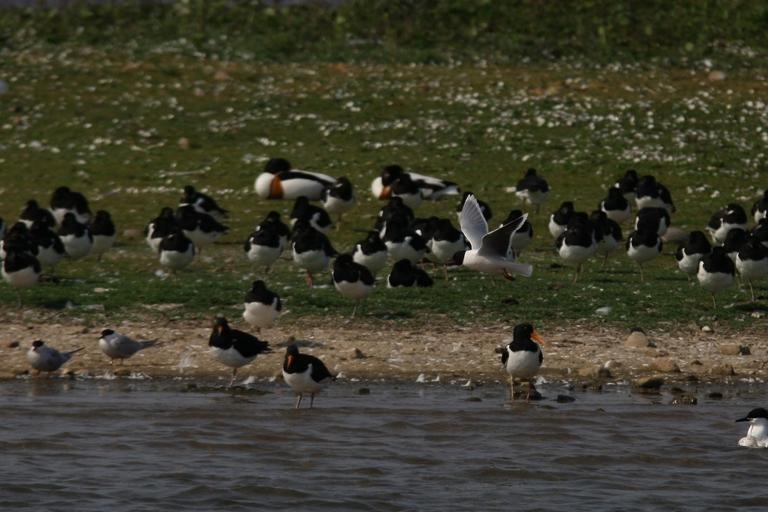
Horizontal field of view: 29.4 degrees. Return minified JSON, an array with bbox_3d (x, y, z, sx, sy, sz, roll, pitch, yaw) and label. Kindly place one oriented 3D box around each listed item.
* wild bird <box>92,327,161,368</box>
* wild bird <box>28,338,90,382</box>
[{"bbox_3d":[-6.830,2.377,38.802,1.397,0.914,0.886,-3,6,-22],"label":"wild bird"},{"bbox_3d":[-8.654,2.647,38.330,0.776,0.934,1.163,5,8,43],"label":"wild bird"}]
